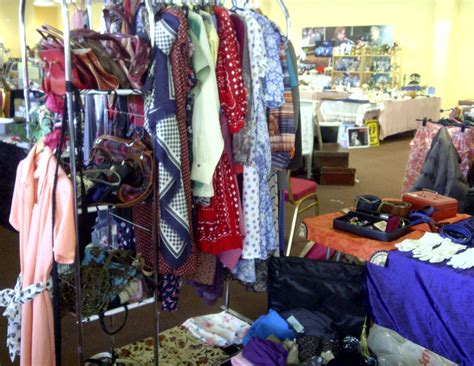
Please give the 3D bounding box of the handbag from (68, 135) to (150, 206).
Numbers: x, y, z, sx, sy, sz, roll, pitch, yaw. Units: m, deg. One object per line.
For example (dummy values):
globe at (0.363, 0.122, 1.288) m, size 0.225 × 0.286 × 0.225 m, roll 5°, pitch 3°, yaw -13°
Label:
handbag at (-0.540, -0.039, 1.869) m, size 0.292 × 0.341 × 0.137 m, roll 5°, pitch -23°, yaw 0°

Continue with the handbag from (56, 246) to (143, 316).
handbag at (-0.623, 0.442, 1.902) m, size 0.299 × 0.143 × 0.348 m, roll -4°, pitch 57°, yaw 7°

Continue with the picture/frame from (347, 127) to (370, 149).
picture/frame at (2.201, -0.834, 7.626) m, size 0.456 × 0.515 × 0.054 m, roll -3°, pitch 14°, yaw -4°

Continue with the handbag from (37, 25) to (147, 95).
handbag at (-0.600, -0.527, 1.705) m, size 0.331 × 0.398 × 0.169 m, roll 2°, pitch -7°, yaw 1°

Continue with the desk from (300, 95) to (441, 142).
desk at (3.338, -1.512, 9.166) m, size 3.513 × 0.793 × 1.268 m, roll -9°, pitch 16°, yaw -31°

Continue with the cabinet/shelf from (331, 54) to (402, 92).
cabinet/shelf at (3.030, -2.773, 10.201) m, size 1.309 × 0.901 × 0.465 m, roll 11°, pitch 38°, yaw 38°
